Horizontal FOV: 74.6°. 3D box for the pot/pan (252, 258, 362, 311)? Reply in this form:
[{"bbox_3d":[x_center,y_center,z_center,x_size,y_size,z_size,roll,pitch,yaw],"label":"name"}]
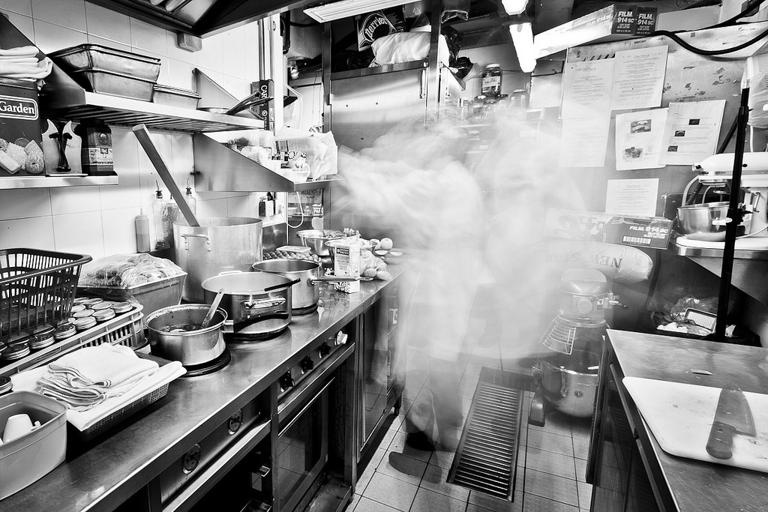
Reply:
[{"bbox_3d":[-0.478,0.188,2.940,0.303,0.189,0.510,3,0,31],"label":"pot/pan"}]

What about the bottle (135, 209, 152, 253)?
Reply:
[{"bbox_3d":[-1.370,-0.142,2.879,0.091,0.241,0.047,-10,14,-35],"label":"bottle"}]

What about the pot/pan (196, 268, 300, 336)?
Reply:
[{"bbox_3d":[-0.668,0.276,2.650,0.410,0.234,0.536,-4,2,-24],"label":"pot/pan"}]

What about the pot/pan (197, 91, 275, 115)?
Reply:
[{"bbox_3d":[-0.846,-0.883,2.954,0.351,0.147,0.619,-4,11,-11],"label":"pot/pan"}]

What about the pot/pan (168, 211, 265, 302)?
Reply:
[{"bbox_3d":[-0.889,-0.010,2.935,0.397,0.356,0.524,7,14,20],"label":"pot/pan"}]

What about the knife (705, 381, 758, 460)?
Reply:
[{"bbox_3d":[1.400,0.652,2.012,0.147,0.029,0.486,2,19,41],"label":"knife"}]

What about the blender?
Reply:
[{"bbox_3d":[1.883,-0.310,2.784,0.435,0.509,0.971,4,12,30],"label":"blender"}]

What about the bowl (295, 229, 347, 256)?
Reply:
[{"bbox_3d":[-0.455,-0.099,3.650,0.322,0.157,0.375,2,11,21],"label":"bowl"}]

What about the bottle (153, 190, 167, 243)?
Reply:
[{"bbox_3d":[-1.309,-0.224,2.956,0.087,0.312,0.039,-7,13,-23],"label":"bottle"}]
